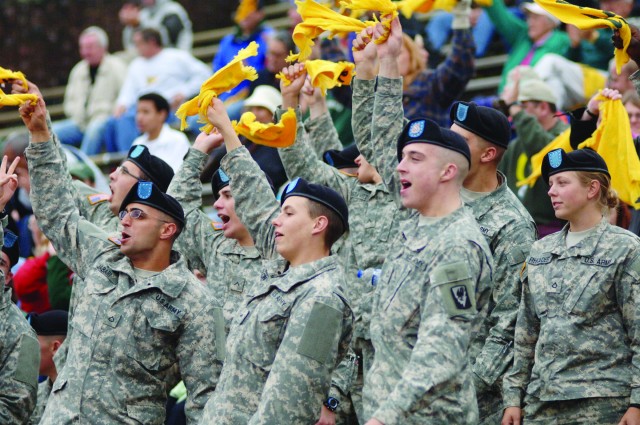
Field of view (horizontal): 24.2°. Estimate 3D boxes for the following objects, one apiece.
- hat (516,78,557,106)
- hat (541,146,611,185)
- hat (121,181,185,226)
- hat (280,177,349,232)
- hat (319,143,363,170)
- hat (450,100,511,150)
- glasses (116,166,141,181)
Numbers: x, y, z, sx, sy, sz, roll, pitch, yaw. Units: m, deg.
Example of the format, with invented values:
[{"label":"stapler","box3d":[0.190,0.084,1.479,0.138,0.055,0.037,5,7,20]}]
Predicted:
[{"label":"hat","box3d":[2.572,-1.524,17.597,0.393,0.265,0.594,-10,-11,9]},{"label":"hat","box3d":[2.553,-0.545,15.116,0.564,0.275,0.424,1,-11,-35]},{"label":"hat","box3d":[-1.734,-0.148,15.531,0.432,0.318,0.587,-6,-13,12]},{"label":"hat","box3d":[-0.042,-0.203,14.858,0.600,0.245,0.451,15,-2,-13]},{"label":"hat","box3d":[0.240,-0.637,16.397,0.345,0.195,0.237,6,-9,0]},{"label":"hat","box3d":[1.660,-0.919,15.315,0.559,0.286,0.441,31,4,-10]},{"label":"glasses","box3d":[-2.029,-0.427,15.915,0.174,0.054,0.136,26,-9,-5]}]
